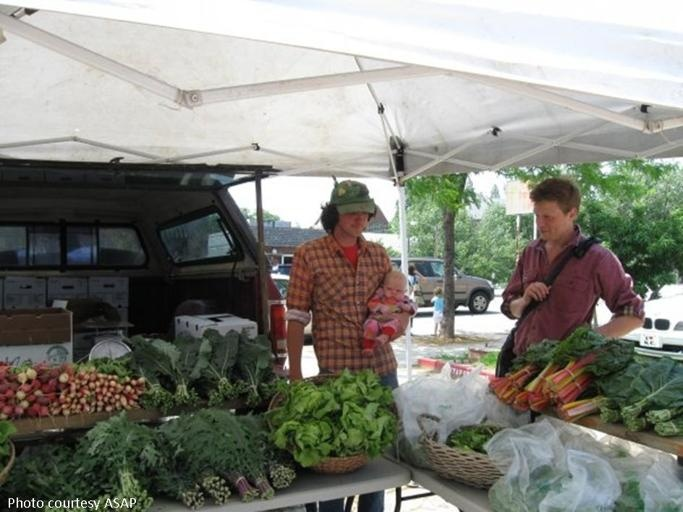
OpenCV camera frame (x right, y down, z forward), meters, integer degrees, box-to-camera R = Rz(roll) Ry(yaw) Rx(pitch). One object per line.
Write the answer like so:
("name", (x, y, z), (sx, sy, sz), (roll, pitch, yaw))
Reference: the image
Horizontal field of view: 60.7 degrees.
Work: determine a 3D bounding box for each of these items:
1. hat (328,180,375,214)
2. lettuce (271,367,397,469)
("hat", (0.078, -0.392, 3.930), (0.314, 0.233, 0.209), (4, 11, 1))
("lettuce", (-0.079, 0.856, 3.395), (0.792, 0.514, 0.884), (0, 1, -18))
